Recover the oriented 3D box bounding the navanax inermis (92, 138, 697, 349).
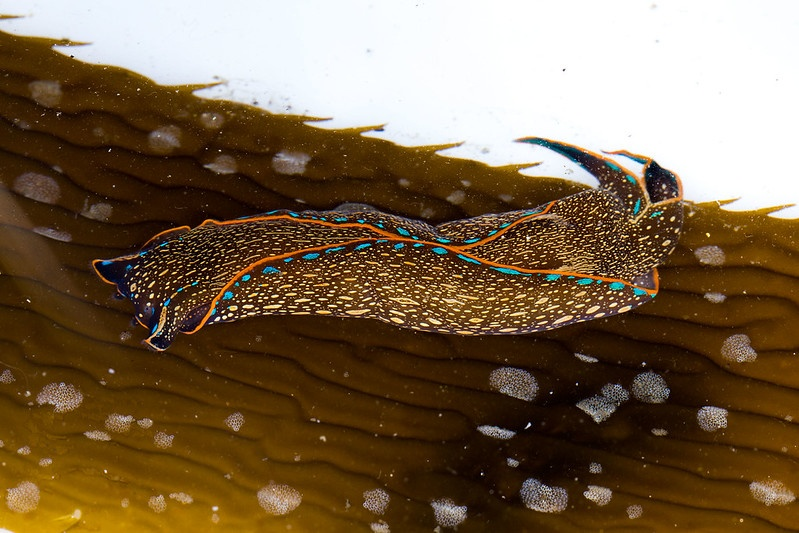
[{"bbox_3d":[0.125,-0.003,3.972,2.710,0.537,0.537,-1,84,1],"label":"navanax inermis"}]
